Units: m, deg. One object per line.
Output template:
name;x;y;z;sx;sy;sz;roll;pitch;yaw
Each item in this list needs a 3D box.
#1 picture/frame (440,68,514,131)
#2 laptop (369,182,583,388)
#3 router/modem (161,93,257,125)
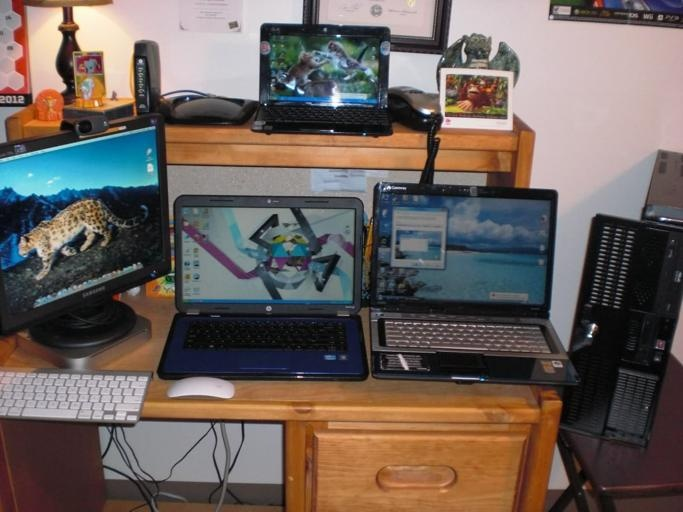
picture/frame;0.370;-0.428;1.601;0.214;0.150;0.014;2;-5;-1
laptop;0.310;0.167;1.667;0.698;0.425;0.491;1;42;0
router/modem;-0.375;-0.398;1.581;0.174;0.045;0.141;1;29;1
